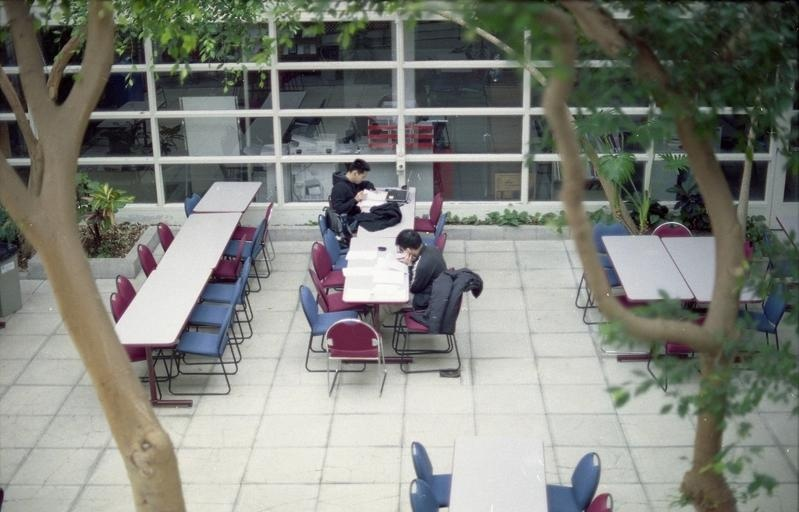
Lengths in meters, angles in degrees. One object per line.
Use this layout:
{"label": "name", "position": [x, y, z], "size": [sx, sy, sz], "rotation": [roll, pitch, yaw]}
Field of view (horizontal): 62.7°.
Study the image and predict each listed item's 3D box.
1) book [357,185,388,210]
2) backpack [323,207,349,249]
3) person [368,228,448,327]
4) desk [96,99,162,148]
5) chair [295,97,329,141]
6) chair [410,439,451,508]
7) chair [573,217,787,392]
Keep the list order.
{"label": "book", "position": [-0.469, -1.006, 11.509], "size": [0.442, 0.112, 0.421], "rotation": [2, 30, 1]}
{"label": "backpack", "position": [-1.084, -0.461, 11.042], "size": [0.368, 0.616, 0.562], "rotation": [-16, 20, -10]}
{"label": "person", "position": [0.203, 0.424, 9.658], "size": [0.964, 1.643, 0.798], "rotation": [6, 28, 6]}
{"label": "desk", "position": [-5.272, -2.329, 12.405], "size": [0.832, 0.273, 1.182], "rotation": [6, 46, 4]}
{"label": "chair", "position": [-1.620, -2.509, 12.694], "size": [0.695, 0.544, 0.931], "rotation": [3, -15, -3]}
{"label": "chair", "position": [0.327, 2.347, 7.007], "size": [0.461, 0.392, 0.777], "rotation": [-7, -31, 10]}
{"label": "chair", "position": [3.925, 0.633, 9.748], "size": [2.205, 1.946, 2.650], "rotation": [-2, 14, -1]}
